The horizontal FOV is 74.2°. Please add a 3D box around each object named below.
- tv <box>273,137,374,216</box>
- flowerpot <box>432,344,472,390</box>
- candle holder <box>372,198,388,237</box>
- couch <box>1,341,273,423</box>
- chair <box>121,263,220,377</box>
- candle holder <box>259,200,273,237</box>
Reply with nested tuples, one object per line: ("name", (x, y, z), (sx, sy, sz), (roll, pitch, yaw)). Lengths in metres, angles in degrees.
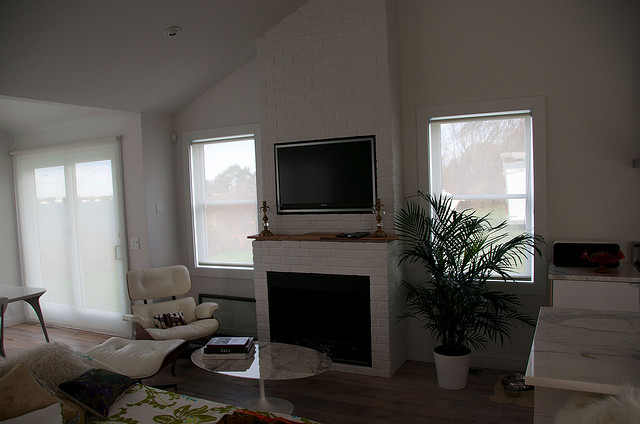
("tv", (0.094, -0.429, 4.792), (0.973, 0.657, 0.033), (-1, 6, 17))
("flowerpot", (1.329, 1.545, 4.249), (0.336, 0.378, 0.247), (0, 3, 18))
("candle holder", (0.648, 0.046, 4.537), (0.158, 0.402, 0.215), (-1, 3, 9))
("couch", (-1.447, 1.307, 3.004), (1.463, 0.506, 0.749), (0, 1, 8))
("chair", (-1.719, 1.218, 4.934), (0.842, 0.999, 1.076), (5, 3, 43))
("candle holder", (-0.634, 0.057, 5.033), (0.153, 0.412, 0.268), (-1, 3, 0))
